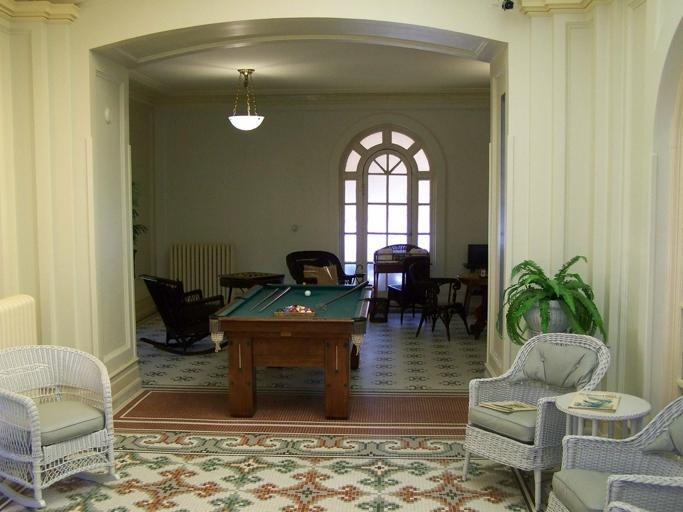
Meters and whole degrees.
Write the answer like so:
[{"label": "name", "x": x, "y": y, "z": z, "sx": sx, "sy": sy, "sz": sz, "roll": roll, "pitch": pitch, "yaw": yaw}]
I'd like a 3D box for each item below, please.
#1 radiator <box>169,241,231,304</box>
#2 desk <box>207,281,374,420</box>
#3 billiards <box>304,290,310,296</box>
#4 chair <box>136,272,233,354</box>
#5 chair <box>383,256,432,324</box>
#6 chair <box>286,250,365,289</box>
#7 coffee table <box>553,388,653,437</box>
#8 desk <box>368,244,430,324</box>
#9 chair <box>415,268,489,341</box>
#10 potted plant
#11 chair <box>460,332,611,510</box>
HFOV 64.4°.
[{"label": "radiator", "x": -2.660, "y": 0.246, "z": 10.258, "sx": 1.243, "sy": 0.158, "sz": 1.232, "roll": -1, "pitch": 45, "yaw": -17}, {"label": "desk", "x": -0.391, "y": 1.138, "z": 6.398, "sx": 1.532, "sy": 0.953, "sz": 2.319, "roll": 0, "pitch": -3, "yaw": 5}, {"label": "billiards", "x": -0.409, "y": 0.443, "z": 6.520, "sx": 0.065, "sy": 0.061, "sz": 0.038, "roll": -18, "pitch": -1, "yaw": 14}, {"label": "chair", "x": -2.213, "y": 0.801, "z": 8.079, "sx": 1.056, "sy": 1.249, "sz": 1.508, "roll": 4, "pitch": 4, "yaw": 42}, {"label": "chair", "x": 1.127, "y": 0.517, "z": 9.092, "sx": 0.580, "sy": 1.019, "sz": 0.592, "roll": 3, "pitch": -1, "yaw": -22}, {"label": "chair", "x": -0.259, "y": 0.171, "z": 9.392, "sx": 0.861, "sy": 1.043, "sz": 0.811, "roll": -3, "pitch": -9, "yaw": -26}, {"label": "coffee table", "x": 1.747, "y": 1.052, "z": 3.625, "sx": 0.460, "sy": 0.311, "sz": 0.443, "roll": -2, "pitch": 6, "yaw": 10}, {"label": "desk", "x": 1.032, "y": 0.450, "z": 9.709, "sx": 1.055, "sy": 1.265, "sz": 0.718, "roll": 2, "pitch": 8, "yaw": 3}, {"label": "chair", "x": 1.764, "y": 0.762, "z": 8.688, "sx": 1.019, "sy": 0.998, "sz": 1.202, "roll": -2, "pitch": 2, "yaw": 9}, {"label": "potted plant", "x": 1.820, "y": 0.342, "z": 4.774, "sx": 0.928, "sy": 0.686, "sz": 0.855, "roll": 3, "pitch": 3, "yaw": 31}, {"label": "chair", "x": 1.431, "y": 1.182, "z": 4.603, "sx": 1.265, "sy": 1.477, "sz": 1.157, "roll": 3, "pitch": -3, "yaw": -33}]
